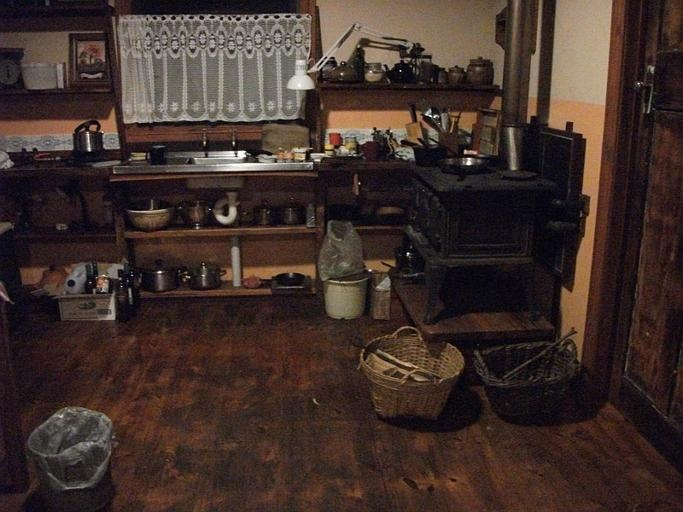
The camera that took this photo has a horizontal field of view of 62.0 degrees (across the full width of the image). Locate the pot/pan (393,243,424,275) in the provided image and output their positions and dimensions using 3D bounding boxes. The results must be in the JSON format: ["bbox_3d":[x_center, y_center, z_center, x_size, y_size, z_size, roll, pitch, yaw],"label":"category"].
[{"bbox_3d":[0.585,0.030,5.129,0.289,0.243,0.263,-9,20,-25],"label":"pot/pan"}]

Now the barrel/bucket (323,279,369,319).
[{"bbox_3d":[0.014,0.377,5.212,0.430,0.280,0.377,0,11,-3],"label":"barrel/bucket"}]

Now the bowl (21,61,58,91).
[{"bbox_3d":[-2.770,-1.643,5.244,0.300,0.198,0.297,1,14,0],"label":"bowl"}]

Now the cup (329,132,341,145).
[{"bbox_3d":[-0.063,-1.116,5.452,0.144,0.121,0.137,0,21,0],"label":"cup"}]

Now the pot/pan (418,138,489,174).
[{"bbox_3d":[0.849,-0.750,4.495,0.650,0.178,0.359,3,1,-23],"label":"pot/pan"}]

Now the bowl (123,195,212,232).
[{"bbox_3d":[-1.667,-0.408,5.465,0.671,0.218,0.378,1,14,-7],"label":"bowl"}]

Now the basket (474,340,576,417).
[{"bbox_3d":[1.258,0.828,3.870,0.732,0.438,0.474,-8,18,-2],"label":"basket"}]

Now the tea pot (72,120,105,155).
[{"bbox_3d":[-2.279,-1.116,5.345,0.310,0.291,0.364,1,6,4],"label":"tea pot"}]

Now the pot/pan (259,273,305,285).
[{"bbox_3d":[-0.536,0.240,5.663,0.315,0.043,0.178,-2,14,-6],"label":"pot/pan"}]

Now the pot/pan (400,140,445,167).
[{"bbox_3d":[0.661,-0.870,4.816,0.379,0.140,0.216,0,14,-6],"label":"pot/pan"}]

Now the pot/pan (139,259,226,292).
[{"bbox_3d":[-1.571,0.196,5.607,0.599,0.185,0.352,0,10,-6],"label":"pot/pan"}]

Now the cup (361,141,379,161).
[{"bbox_3d":[0.276,-0.994,5.356,0.132,0.177,0.238,0,17,9],"label":"cup"}]

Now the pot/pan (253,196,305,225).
[{"bbox_3d":[-0.601,-0.448,5.630,0.525,0.259,0.262,0,11,-2],"label":"pot/pan"}]

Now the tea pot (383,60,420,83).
[{"bbox_3d":[0.552,-1.706,5.264,0.286,0.216,0.233,-1,17,4],"label":"tea pot"}]

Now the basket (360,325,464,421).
[{"bbox_3d":[0.464,0.791,3.851,0.716,0.408,0.631,-2,23,-5],"label":"basket"}]

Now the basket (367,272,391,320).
[{"bbox_3d":[0.343,0.362,5.167,0.211,0.329,0.370,-1,19,-1],"label":"basket"}]
